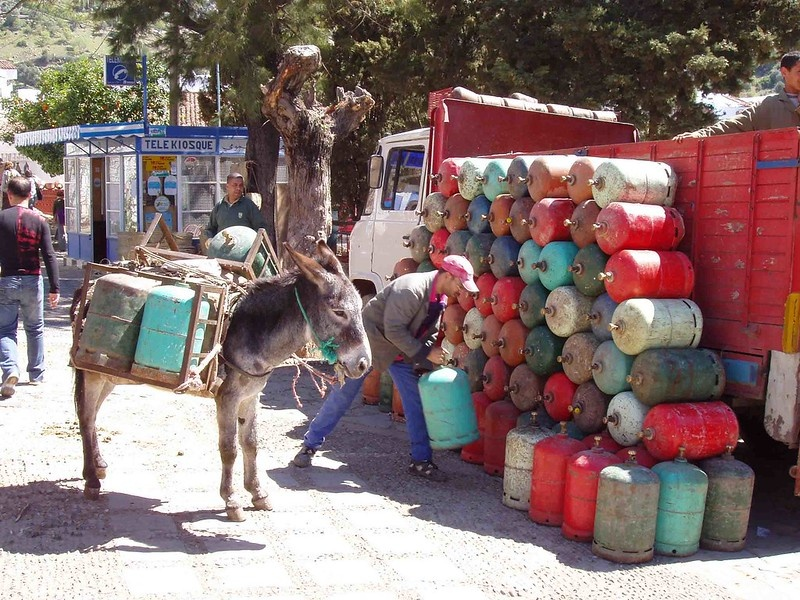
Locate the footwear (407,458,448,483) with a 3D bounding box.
[{"bbox_3d":[0.256,1.680,8.726,0.410,0.172,0.136,5,7,27],"label":"footwear"}]

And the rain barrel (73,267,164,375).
[{"bbox_3d":[-2.422,0.174,7.562,0.736,0.789,0.724,14,-3,-17],"label":"rain barrel"}]

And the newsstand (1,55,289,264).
[{"bbox_3d":[-7.198,-2.816,23.845,5.641,3.483,7.091,-1,7,-34],"label":"newsstand"}]

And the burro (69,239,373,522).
[{"bbox_3d":[-1.649,0.829,8.026,2.541,2.307,0.802,3,5,5],"label":"burro"}]

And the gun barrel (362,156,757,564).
[{"bbox_3d":[1.549,0.317,8.113,1.503,3.202,3.406,-8,18,-42],"label":"gun barrel"}]

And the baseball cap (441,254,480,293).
[{"bbox_3d":[0.470,-0.261,8.155,0.443,0.222,0.275,25,-12,-18],"label":"baseball cap"}]

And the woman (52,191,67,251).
[{"bbox_3d":[-10.543,-2.484,27.329,0.544,1.833,0.535,-8,20,-42],"label":"woman"}]
